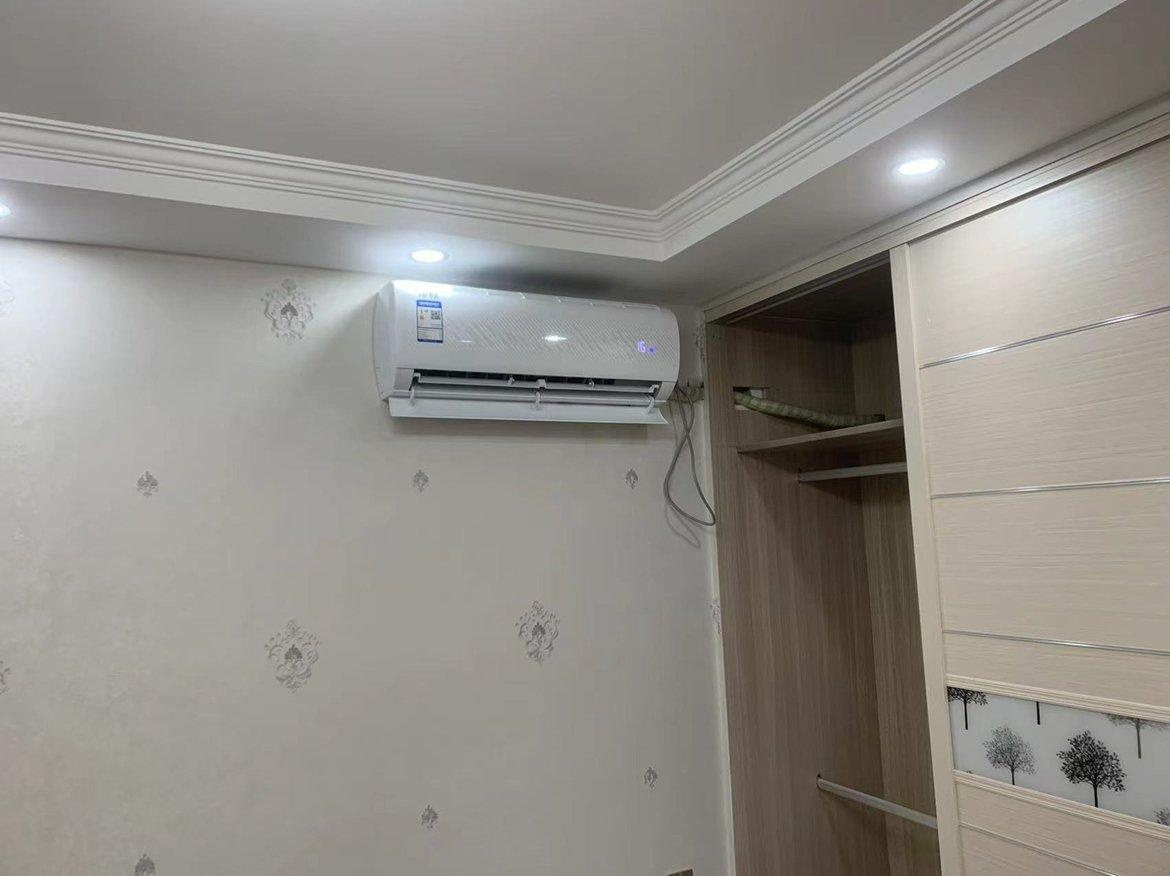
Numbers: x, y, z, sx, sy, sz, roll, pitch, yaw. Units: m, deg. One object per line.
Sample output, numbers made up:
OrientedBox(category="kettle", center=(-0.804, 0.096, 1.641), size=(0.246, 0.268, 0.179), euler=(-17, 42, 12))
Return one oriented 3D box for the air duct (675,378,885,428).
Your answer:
OrientedBox(category="air duct", center=(0.769, -0.143, 3.301), size=(0.700, 0.114, 0.125), euler=(8, -19, -17))
